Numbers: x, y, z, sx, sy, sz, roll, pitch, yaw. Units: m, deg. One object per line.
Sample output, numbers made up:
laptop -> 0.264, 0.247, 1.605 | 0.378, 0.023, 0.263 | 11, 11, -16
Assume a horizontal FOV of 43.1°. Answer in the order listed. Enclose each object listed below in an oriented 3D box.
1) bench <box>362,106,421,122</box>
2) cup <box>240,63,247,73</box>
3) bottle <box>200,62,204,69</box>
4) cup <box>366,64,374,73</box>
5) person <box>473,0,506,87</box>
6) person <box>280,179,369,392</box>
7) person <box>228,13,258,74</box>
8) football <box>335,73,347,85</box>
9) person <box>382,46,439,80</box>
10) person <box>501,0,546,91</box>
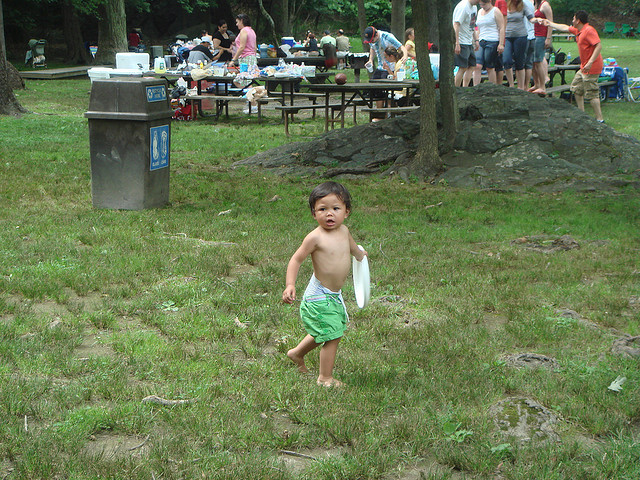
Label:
bench -> 1.519, -2.730, 17.142 | 0.868, 0.231, 2.353 | 3, 14, 15
cup -> -1.840, -4.135, 19.455 | 0.154, 0.215, 0.274 | -1, 13, -4
bottle -> -2.930, -4.316, 20.013 | 0.095, 0.129, 0.298 | -2, 13, -8
cup -> 1.169, -4.025, 18.946 | 0.131, 0.238, 0.150 | 6, 54, 33
person -> 3.388, -3.934, 16.181 | 0.605, 1.655, 1.468 | 2, 13, 10
person -> 0.047, 0.228, 7.020 | 0.681, 1.600, 1.561 | 0, 13, 0
person -> -1.919, -4.888, 20.164 | 0.674, 1.396, 2.127 | -1, 13, -5
football -> 0.427, -3.325, 16.586 | 0.230, 0.272, 0.247 | -1, 4, -5
person -> 1.847, -4.112, 18.744 | 0.716, 0.717, 1.703 | 0, 13, 0
person -> 3.893, -3.845, 16.015 | 0.658, 1.712, 1.008 | 9, 15, 39
